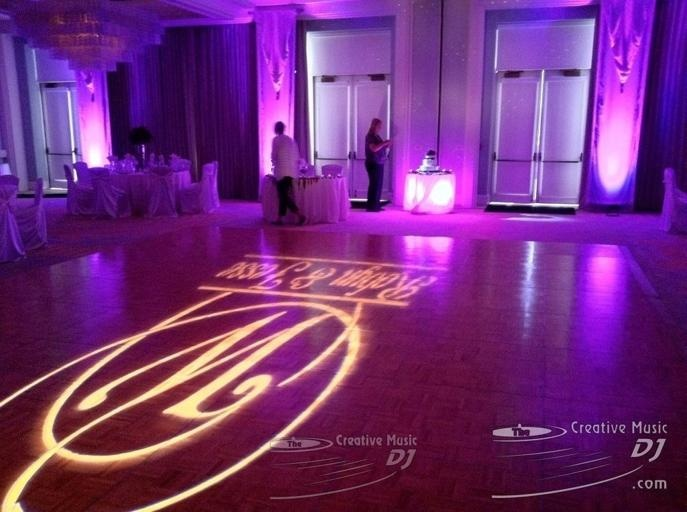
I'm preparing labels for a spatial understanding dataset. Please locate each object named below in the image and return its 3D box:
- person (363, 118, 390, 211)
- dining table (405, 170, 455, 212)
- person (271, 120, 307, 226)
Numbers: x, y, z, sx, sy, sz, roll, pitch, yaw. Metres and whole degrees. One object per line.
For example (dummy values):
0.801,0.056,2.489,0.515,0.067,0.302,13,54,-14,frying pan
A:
0.665,-1.762,9.366,0.436,1.753,0.480,0,14,2,person
1.716,-1.226,9.202,0.793,0.714,0.826,0,13,1,dining table
-0.952,-1.403,8.215,0.523,1.704,0.430,-2,14,-7,person
